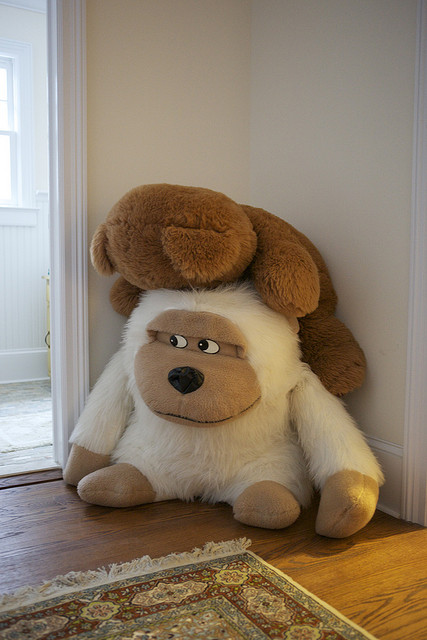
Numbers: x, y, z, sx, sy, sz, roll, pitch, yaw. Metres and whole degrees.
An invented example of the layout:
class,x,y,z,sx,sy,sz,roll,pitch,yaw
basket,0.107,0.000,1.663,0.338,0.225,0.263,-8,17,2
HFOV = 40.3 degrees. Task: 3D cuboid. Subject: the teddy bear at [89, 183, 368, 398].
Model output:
class,x,y,z,sx,sy,sz,roll,pitch,yaw
teddy bear,0.023,-0.085,1.697,0.761,0.506,0.704,8,8,38
